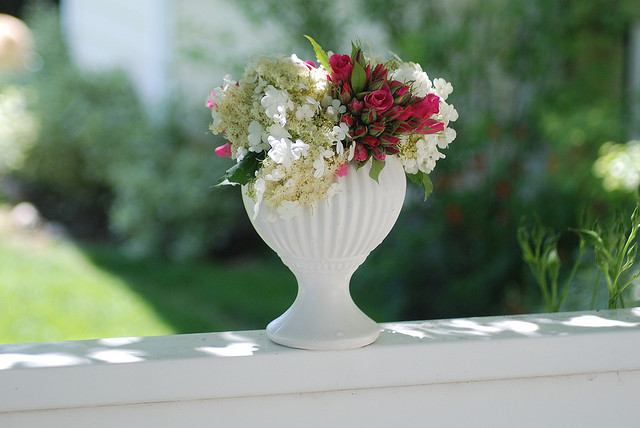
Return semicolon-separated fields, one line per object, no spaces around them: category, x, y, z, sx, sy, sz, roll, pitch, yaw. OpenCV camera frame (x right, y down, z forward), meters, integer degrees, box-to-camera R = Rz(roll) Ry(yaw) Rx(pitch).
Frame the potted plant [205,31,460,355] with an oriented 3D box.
potted plant;0.068;-0.025;3.860;1.239;1.580;1.123;1;4;6

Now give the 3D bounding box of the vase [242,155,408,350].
vase;-0.025;0.078;3.810;0.693;1.034;0.719;-4;8;-27

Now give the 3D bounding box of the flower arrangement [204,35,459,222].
flower arrangement;0.023;-0.356;3.346;0.750;0.854;0.537;0;3;-13
